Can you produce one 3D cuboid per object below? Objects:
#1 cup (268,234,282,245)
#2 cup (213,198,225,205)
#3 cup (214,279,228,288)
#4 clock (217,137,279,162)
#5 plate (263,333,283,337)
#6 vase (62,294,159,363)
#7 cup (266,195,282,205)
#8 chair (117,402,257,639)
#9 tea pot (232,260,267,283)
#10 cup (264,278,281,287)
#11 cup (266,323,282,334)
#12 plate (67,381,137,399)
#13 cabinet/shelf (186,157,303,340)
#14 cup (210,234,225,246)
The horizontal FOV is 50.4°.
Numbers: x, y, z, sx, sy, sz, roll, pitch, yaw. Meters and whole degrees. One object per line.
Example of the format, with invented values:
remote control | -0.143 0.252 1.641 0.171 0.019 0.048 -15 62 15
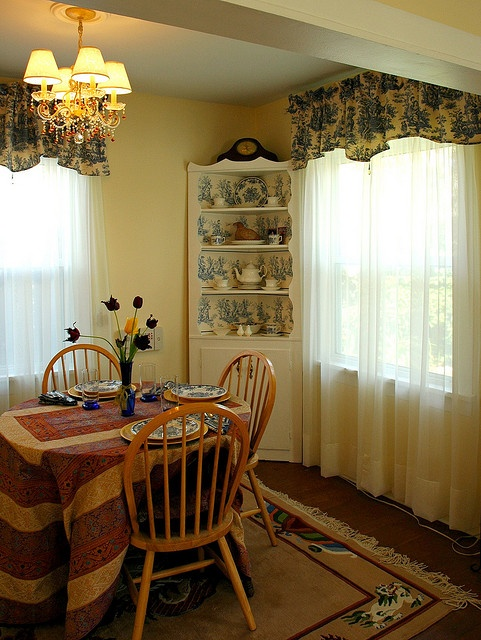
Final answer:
cup | 0.251 -0.593 3.734 0.093 0.079 0.074 1 4 3
cup | -0.165 -0.881 3.808 0.088 0.073 0.058 1 4 2
cup | -0.154 -0.276 3.881 0.098 0.072 0.107 1 4 0
clock | 0.056 -1.276 3.821 0.292 0.129 0.048 1 -8 7
plate | 0.244 0.105 3.800 0.135 0.022 0.216 1 4 2
vase | -0.849 0.048 3.189 0.408 0.461 0.436 1 16 -18
cup | 0.245 -0.886 3.783 0.067 0.083 0.108 5 5 44
chair | -0.184 0.691 1.915 0.480 0.914 0.668 0 4 -9
tea pot | 0.062 -0.368 3.894 0.225 0.153 0.141 2 2 11
cup | 0.239 -0.287 3.828 0.085 0.058 0.066 6 -9 -34
cup | 0.251 0.063 3.827 0.064 0.068 0.098 -2 -4 45
plate | -0.713 0.351 2.546 0.182 0.025 0.176 -6 11 -36
cabinet/shelf | 0.018 -0.527 3.827 0.863 1.311 0.430 1 4 5
cup | -0.178 -0.607 3.867 0.110 0.095 0.167 1 4 -3
